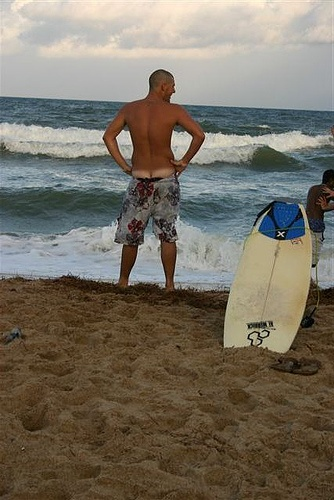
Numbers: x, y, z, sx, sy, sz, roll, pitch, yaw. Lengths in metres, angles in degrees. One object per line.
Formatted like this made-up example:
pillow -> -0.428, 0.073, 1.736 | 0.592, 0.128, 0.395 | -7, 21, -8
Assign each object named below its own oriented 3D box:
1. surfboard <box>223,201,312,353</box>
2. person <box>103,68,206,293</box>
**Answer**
surfboard -> 0.649, 0.157, 3.691 | 0.465, 1.225, 0.154 | 9, -32, 18
person -> -0.126, -0.417, 4.749 | 0.777, 1.524, 0.368 | 2, 12, -2
